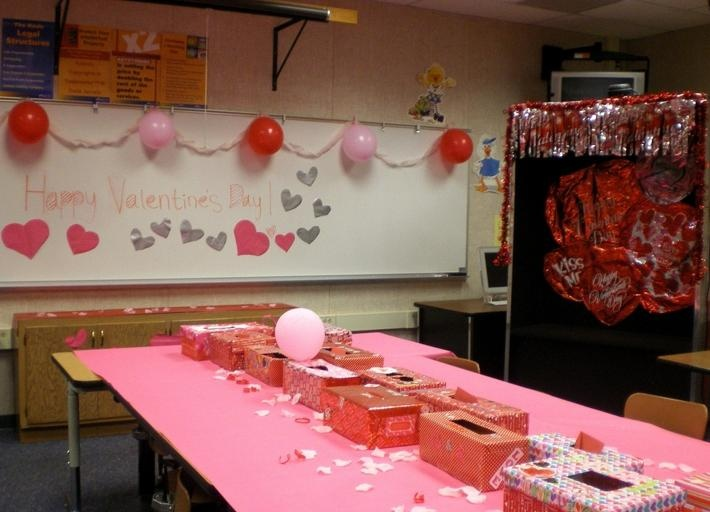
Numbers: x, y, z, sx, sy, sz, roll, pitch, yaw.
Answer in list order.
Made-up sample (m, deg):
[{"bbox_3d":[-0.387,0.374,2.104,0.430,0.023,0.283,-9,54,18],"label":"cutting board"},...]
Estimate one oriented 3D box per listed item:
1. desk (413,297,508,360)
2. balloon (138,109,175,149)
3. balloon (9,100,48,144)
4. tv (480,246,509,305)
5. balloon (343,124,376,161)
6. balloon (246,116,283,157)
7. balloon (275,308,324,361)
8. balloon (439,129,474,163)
[{"bbox_3d":[1.034,0.592,5.359,0.556,0.552,0.560,-2,4,-32],"label":"desk"},{"bbox_3d":[-1.603,-1.009,4.675,0.292,0.352,0.291,1,-7,-38],"label":"balloon"},{"bbox_3d":[-2.449,-1.003,4.298,0.255,0.312,0.158,1,5,7],"label":"balloon"},{"bbox_3d":[1.325,0.191,5.514,0.252,0.503,0.502,2,5,13],"label":"tv"},{"bbox_3d":[0.107,-1.061,5.277,0.408,0.339,0.324,3,9,-6],"label":"balloon"},{"bbox_3d":[-0.772,-1.054,4.999,0.333,0.419,0.344,4,12,4],"label":"balloon"},{"bbox_3d":[-0.248,0.405,2.943,0.234,0.300,0.252,-3,-10,11],"label":"balloon"},{"bbox_3d":[1.007,-1.094,5.664,0.352,0.430,0.348,-9,12,-39],"label":"balloon"}]
